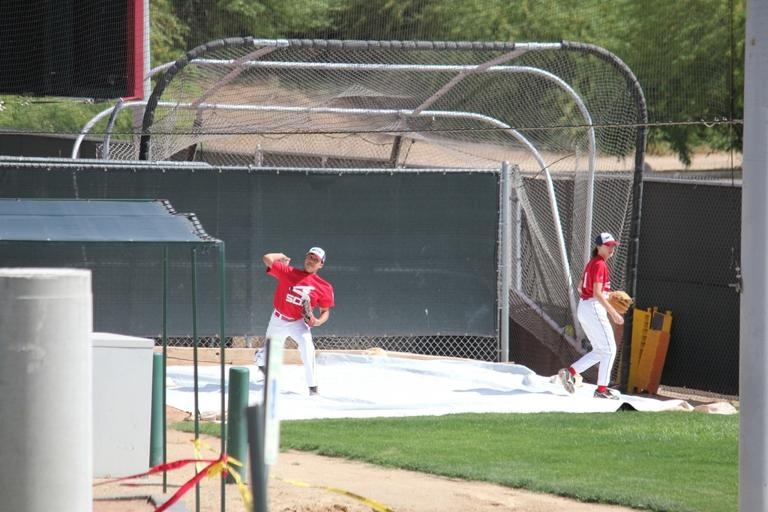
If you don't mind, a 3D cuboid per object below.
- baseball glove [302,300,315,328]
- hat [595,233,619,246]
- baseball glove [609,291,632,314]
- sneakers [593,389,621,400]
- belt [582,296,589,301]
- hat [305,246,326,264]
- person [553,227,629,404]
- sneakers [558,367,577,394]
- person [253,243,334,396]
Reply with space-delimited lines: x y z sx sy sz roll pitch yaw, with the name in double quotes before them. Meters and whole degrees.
"baseball glove" -1.390 1.061 29.577 0.259 0.472 0.174 -11 -5 32
"hat" 4.156 -0.314 29.994 0.260 0.220 0.376 2 0 -27
"baseball glove" 4.480 0.849 30.316 0.345 0.356 0.450 26 -2 5
"sneakers" 4.232 2.631 30.223 0.541 0.246 0.191 -2 -2 11
"belt" 3.781 0.797 29.933 0.072 0.064 0.227 1 1 -33
"hat" -1.223 -0.053 29.715 0.270 0.226 0.403 14 -11 25
"person" 3.997 1.138 29.951 1.083 3.133 0.722 1 1 22
"sneakers" 3.485 2.333 30.256 0.272 0.580 0.214 -24 12 -9
"person" -1.613 1.225 29.582 1.235 2.766 0.657 1 1 -4
